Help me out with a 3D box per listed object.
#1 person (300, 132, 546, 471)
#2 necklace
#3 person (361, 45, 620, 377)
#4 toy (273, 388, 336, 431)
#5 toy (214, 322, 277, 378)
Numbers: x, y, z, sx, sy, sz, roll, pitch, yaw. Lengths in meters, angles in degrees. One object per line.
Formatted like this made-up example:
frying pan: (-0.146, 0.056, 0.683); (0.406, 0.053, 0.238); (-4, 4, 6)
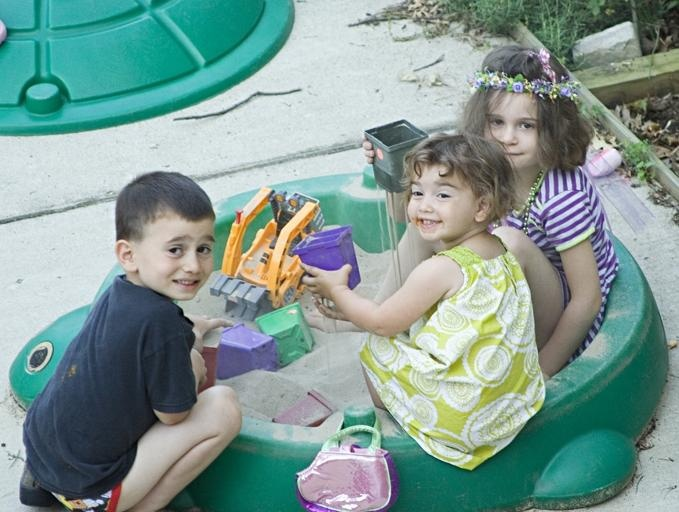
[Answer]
person: (0.313, 0.127, 2.610); (0.804, 1.074, 0.768); (-1, 6, 8)
necklace: (0.679, -0.234, 2.894); (0.073, 0.254, 0.187); (-18, -27, -31)
person: (0.574, -0.203, 2.946); (1.043, 1.300, 0.964); (12, 29, 38)
toy: (-0.124, 0.583, 2.691); (0.131, 0.042, 0.126); (-32, 38, -23)
toy: (-0.375, 0.382, 2.887); (0.200, 0.157, 0.207); (1, 6, 22)
